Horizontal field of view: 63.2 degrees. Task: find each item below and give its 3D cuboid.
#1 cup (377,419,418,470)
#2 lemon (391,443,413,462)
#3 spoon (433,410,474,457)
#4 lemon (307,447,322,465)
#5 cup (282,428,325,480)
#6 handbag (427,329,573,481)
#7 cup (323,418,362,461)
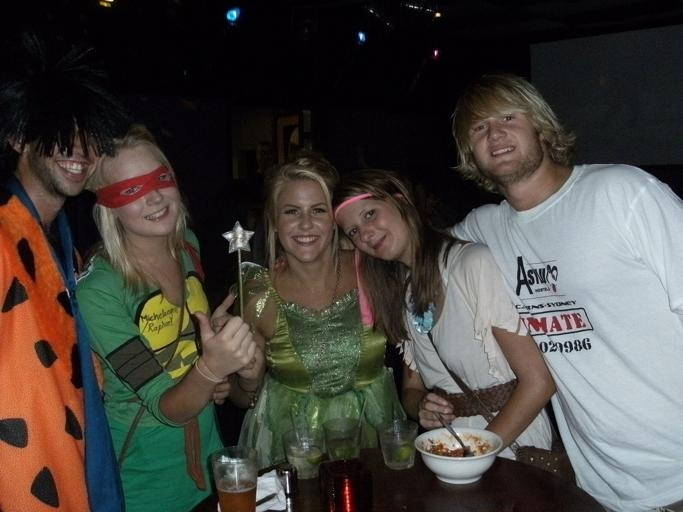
[{"bbox_3d":[0.254,0.892,2.618,0.219,0.198,0.197,16,-25,-35],"label":"cup"},{"bbox_3d":[0.290,0.902,2.593,0.077,0.065,0.085,2,3,4],"label":"lemon"},{"bbox_3d":[0.522,0.828,2.592,0.056,0.235,0.041,-39,-25,15],"label":"spoon"},{"bbox_3d":[-0.125,0.905,2.532,0.061,0.051,0.066,0,-18,2],"label":"lemon"},{"bbox_3d":[-0.176,0.951,2.625,0.197,0.208,0.236,-7,-15,18],"label":"cup"},{"bbox_3d":[0.895,0.881,3.118,0.656,0.670,0.434,-4,8,15],"label":"handbag"},{"bbox_3d":[-0.002,0.860,2.589,0.182,0.209,0.186,-4,-10,-1],"label":"cup"}]
